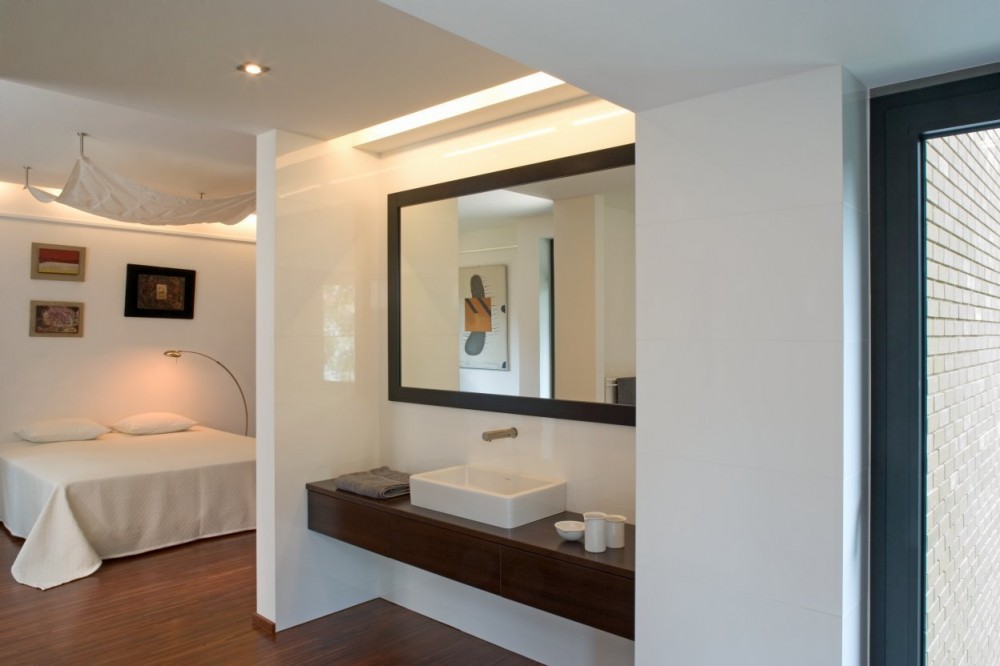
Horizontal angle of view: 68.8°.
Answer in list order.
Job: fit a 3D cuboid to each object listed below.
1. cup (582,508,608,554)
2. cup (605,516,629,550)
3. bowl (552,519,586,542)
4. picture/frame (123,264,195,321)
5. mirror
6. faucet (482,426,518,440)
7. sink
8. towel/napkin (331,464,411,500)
[{"bbox_3d":[0.434,0.934,3.417,0.165,0.169,0.119,5,-7,-26],"label":"cup"},{"bbox_3d":[0.536,0.942,3.465,0.130,0.132,0.131,0,1,0],"label":"cup"},{"bbox_3d":[0.332,0.955,3.556,0.130,0.099,0.186,1,6,2],"label":"bowl"},{"bbox_3d":[-3.464,-0.419,7.356,0.572,0.541,0.053,2,-1,-43],"label":"picture/frame"},{"bbox_3d":[-0.004,-0.238,4.188,1.984,1.432,0.045,0,2,41],"label":"mirror"},{"bbox_3d":[0.006,0.556,4.110,0.072,0.070,0.265,3,5,40],"label":"faucet"},{"bbox_3d":[-0.095,0.873,4.004,0.791,0.175,0.466,6,8,38],"label":"sink"},{"bbox_3d":[-0.780,0.885,4.375,0.448,0.088,0.533,-1,7,-16],"label":"towel/napkin"}]
